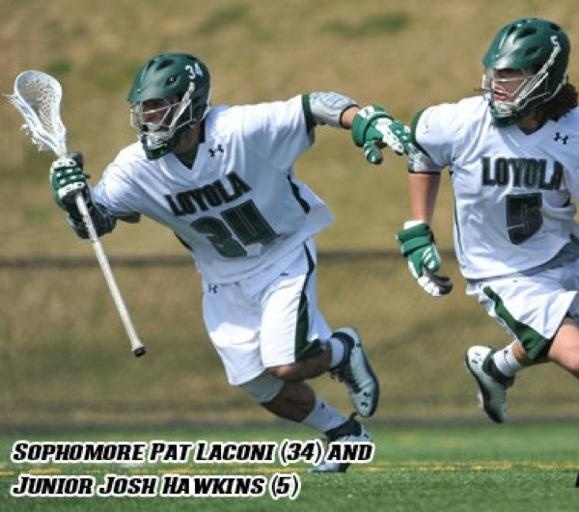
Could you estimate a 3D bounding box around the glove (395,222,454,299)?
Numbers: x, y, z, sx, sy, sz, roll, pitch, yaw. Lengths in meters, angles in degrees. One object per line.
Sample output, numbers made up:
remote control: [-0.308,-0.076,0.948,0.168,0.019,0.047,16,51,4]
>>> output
glove: [0.767,0.003,6.381,0.279,0.414,0.145,-41,-13,36]

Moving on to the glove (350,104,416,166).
glove: [0.479,-0.651,6.259,0.116,0.326,0.336,-34,7,40]

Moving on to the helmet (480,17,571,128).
helmet: [1.238,-0.980,6.165,0.618,0.530,0.453,-14,15,-32]

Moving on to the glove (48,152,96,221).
glove: [-1.168,-0.383,6.527,0.232,0.358,0.164,-29,-14,33]
